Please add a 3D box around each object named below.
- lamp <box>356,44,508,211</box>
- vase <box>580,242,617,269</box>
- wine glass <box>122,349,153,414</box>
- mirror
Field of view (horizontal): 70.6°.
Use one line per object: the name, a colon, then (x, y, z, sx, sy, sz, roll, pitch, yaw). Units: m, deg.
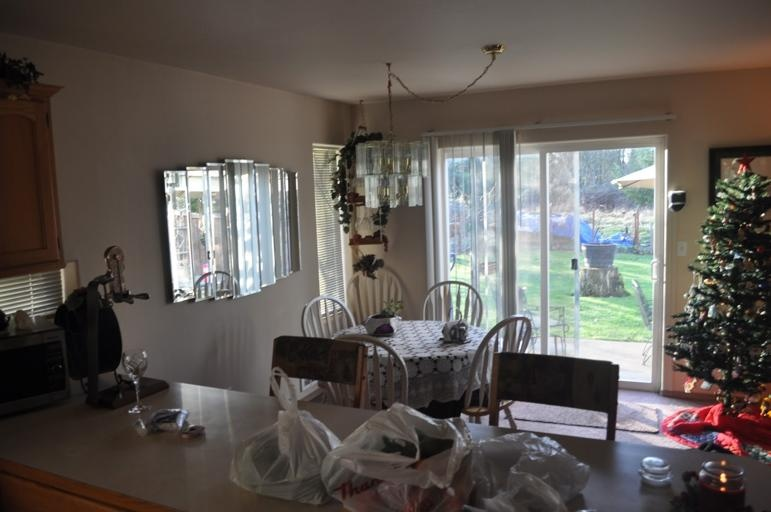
lamp: (0.504, -1.206, 5.151, 1.249, 1.221, 0.507, -4, 9, -23)
vase: (2.214, -0.021, 5.658, 0.275, 0.196, 0.275, -4, 7, -43)
wine glass: (-1.400, 0.674, 3.053, 0.117, 0.362, 0.339, -3, 6, -26)
mirror: (-1.344, -0.223, 4.647, 0.130, 0.979, 1.414, 2, 5, 31)
